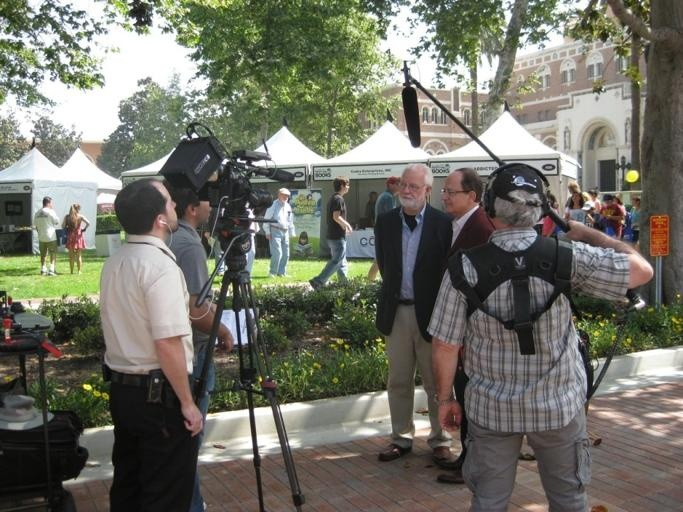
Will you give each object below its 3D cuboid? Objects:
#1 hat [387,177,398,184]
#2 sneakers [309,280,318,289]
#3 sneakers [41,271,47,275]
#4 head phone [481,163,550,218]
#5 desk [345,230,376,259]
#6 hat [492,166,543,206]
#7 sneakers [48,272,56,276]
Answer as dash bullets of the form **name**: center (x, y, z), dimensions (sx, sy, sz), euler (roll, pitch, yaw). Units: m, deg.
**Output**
- **hat**: center (0.853, -1.258, 12.096), dimensions (0.149, 0.097, 0.104), euler (-16, 21, -37)
- **sneakers**: center (-0.494, 0.497, 12.954), dimensions (0.132, 0.051, 0.194), euler (33, -3, 29)
- **sneakers**: center (-7.422, 0.400, 18.232), dimensions (0.113, 0.124, 0.119), euler (-1, -7, 13)
- **head phone**: center (1.128, -0.445, 4.828), dimensions (0.337, 0.303, 0.354), euler (2, 1, -1)
- **desk**: center (0.520, -0.376, 21.544), dimensions (0.807, 0.553, 0.855), euler (-1, -1, 19)
- **hat**: center (1.129, -0.449, 4.680), dimensions (0.226, 0.189, 0.309), euler (0, 5, -13)
- **sneakers**: center (-7.163, 0.422, 18.104), dimensions (0.133, 0.107, 0.141), euler (3, -3, -15)
